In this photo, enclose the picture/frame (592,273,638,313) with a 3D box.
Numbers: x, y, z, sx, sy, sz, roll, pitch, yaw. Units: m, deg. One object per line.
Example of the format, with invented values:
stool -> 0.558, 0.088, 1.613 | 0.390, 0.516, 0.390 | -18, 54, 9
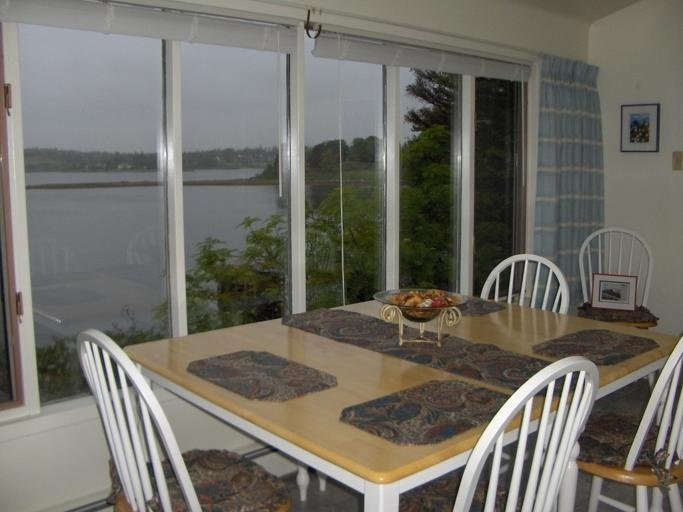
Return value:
picture/frame -> 1.963, 0.275, 3.686 | 0.273, 0.243, 0.019 | 6, -1, 29
